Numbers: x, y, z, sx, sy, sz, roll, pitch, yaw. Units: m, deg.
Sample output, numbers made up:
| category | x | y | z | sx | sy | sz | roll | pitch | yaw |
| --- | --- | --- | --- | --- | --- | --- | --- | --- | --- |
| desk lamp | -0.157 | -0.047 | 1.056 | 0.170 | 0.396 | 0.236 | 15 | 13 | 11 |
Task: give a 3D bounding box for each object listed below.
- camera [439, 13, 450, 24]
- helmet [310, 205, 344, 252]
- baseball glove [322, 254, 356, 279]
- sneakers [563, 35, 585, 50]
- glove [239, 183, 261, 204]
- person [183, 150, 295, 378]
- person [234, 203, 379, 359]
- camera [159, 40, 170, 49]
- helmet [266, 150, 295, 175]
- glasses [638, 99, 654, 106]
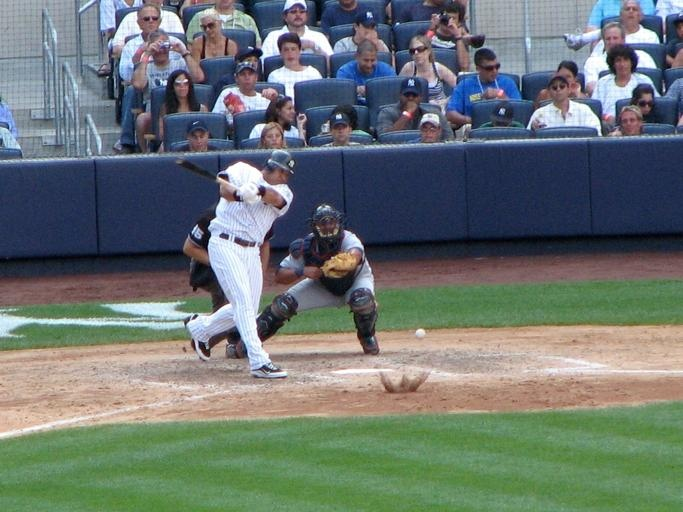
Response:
| category | x | y | z | sx | sy | sz | roll | pitch | yaw |
| --- | --- | --- | --- | --- | --- | --- | --- | --- | --- |
| camera | 1.370 | -3.163 | 19.298 | 0.108 | 0.125 | 0.129 | 0 | -3 | 20 |
| helmet | -0.135 | -0.258 | 13.976 | 0.403 | 0.417 | 0.440 | -2 | 16 | -1 |
| baseball glove | -0.010 | 0.096 | 13.878 | 0.231 | 0.127 | 0.286 | -27 | 13 | -28 |
| sneakers | 3.261 | -2.979 | 20.219 | 0.273 | 0.245 | 0.545 | 0 | 13 | 8 |
| glove | -0.831 | -0.547 | 12.980 | 0.211 | 0.185 | 0.143 | 17 | -6 | -19 |
| person | -0.867 | 0.075 | 13.387 | 0.891 | 2.086 | 1.080 | -9 | 15 | -25 |
| person | -0.114 | 0.226 | 14.198 | 1.269 | 1.368 | 1.964 | 1 | 3 | -39 |
| camera | -2.205 | -2.660 | 18.184 | 0.078 | 0.118 | 0.210 | 4 | 14 | 26 |
| helmet | -0.570 | -0.858 | 13.276 | 0.244 | 0.235 | 0.263 | -3 | 13 | 0 |
| glasses | 3.812 | -1.914 | 18.101 | 0.217 | 0.091 | 0.076 | -4 | 14 | -7 |
